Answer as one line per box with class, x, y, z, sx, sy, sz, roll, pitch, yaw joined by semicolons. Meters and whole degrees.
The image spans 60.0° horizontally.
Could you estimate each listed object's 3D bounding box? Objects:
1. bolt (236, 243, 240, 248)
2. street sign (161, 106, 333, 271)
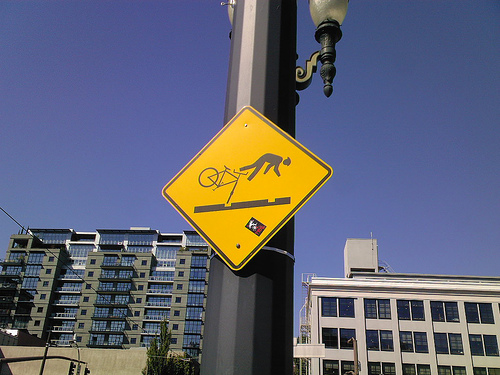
bolt;-0.065;0.308;2.313;0.018;0.024;0.006;4;-8;-5
street sign;-0.108;-0.055;2.528;0.189;1.052;0.836;-21;-18;37
